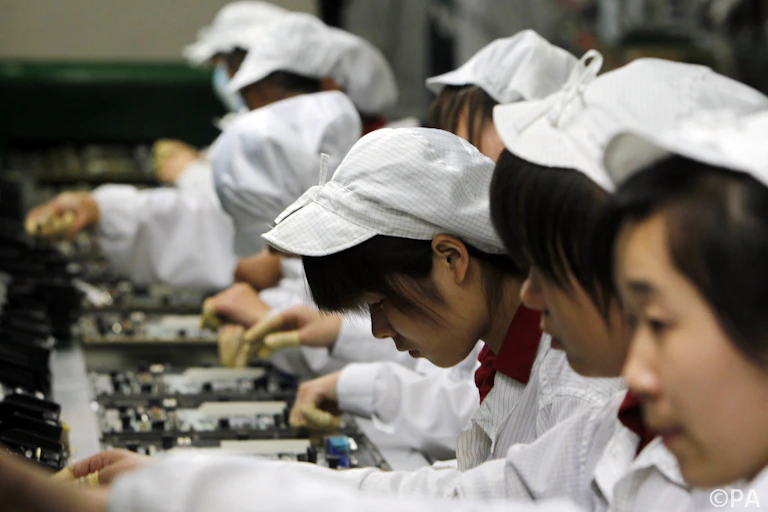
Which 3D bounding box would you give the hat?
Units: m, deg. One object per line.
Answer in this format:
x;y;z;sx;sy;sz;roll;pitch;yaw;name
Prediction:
-0.012;-0.493;4.824;1.081;0.412;0.779;-17;18;-12;hat
